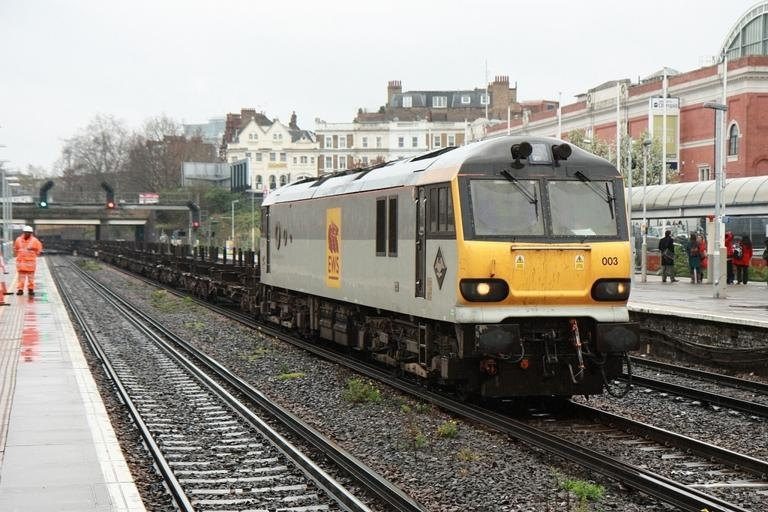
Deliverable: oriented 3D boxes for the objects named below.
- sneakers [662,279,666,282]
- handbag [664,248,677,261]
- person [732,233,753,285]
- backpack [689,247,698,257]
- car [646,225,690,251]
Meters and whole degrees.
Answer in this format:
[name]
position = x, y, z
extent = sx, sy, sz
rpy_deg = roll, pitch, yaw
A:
[sneakers]
position = 11.423, 1.009, 30.297
extent = 0.147, 0.069, 0.148
rpy_deg = -1, -6, -8
[handbag]
position = 11.676, -0.062, 30.513
extent = 0.435, 0.447, 0.176
rpy_deg = -2, 13, -7
[person]
position = 13.787, 0.130, 28.537
extent = 0.564, 1.841, 1.126
rpy_deg = -2, 1, 14
[backpack]
position = 12.238, -0.161, 29.341
extent = 0.358, 0.428, 0.152
rpy_deg = -2, 2, -12
[car]
position = 15.323, -1.054, 40.313
extent = 1.514, 1.549, 3.161
rpy_deg = 1, -4, -26
